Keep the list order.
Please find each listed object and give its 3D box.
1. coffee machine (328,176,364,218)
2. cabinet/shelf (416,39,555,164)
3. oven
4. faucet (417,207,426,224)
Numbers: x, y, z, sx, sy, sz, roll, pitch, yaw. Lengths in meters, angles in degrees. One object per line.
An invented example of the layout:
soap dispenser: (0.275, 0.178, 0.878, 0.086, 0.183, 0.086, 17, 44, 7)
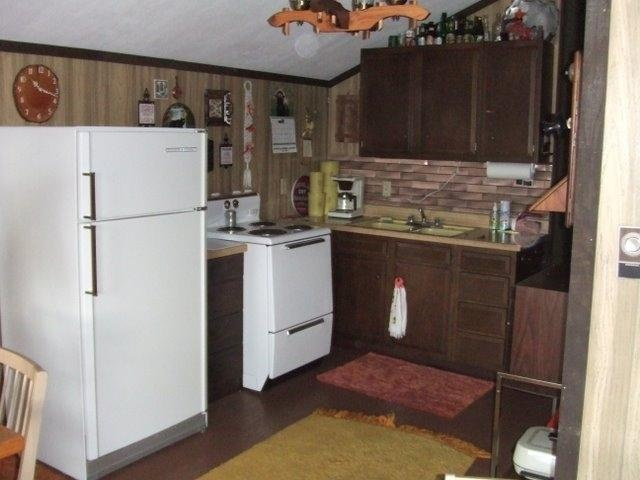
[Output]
coffee machine: (0.250, -0.412, 5.108, 0.272, 0.394, 0.333, 5, 8, 16)
cabinet/shelf: (1.310, -1.133, 4.366, 0.988, 0.920, 0.405, 7, 26, 24)
oven: (-0.388, 0.538, 4.266, 0.750, 1.104, 0.821, -3, 3, 30)
faucet: (0.929, -0.223, 4.852, 0.084, 0.137, 0.204, 3, 12, 10)
